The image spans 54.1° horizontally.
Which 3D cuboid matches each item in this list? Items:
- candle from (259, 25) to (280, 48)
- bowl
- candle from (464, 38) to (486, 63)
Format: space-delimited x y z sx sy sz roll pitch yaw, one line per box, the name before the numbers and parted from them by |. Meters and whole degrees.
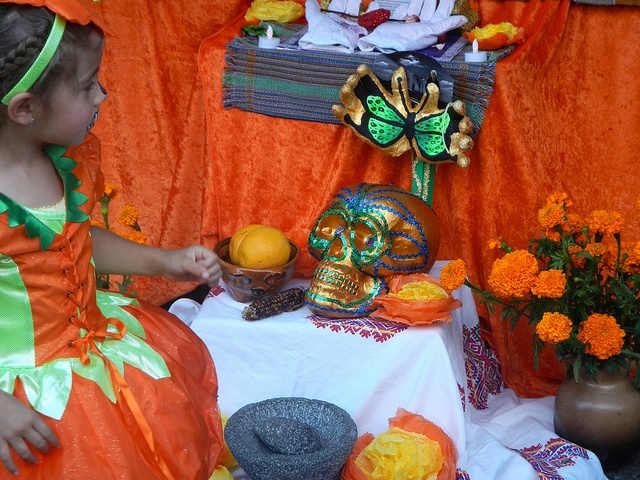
candle | -0.173 -0.731 2.286 0.077 0.095 0.081 3 12 3
bowl | -0.201 0.079 2.083 0.218 0.223 0.240 -3 22 -12
candle | 0.496 -0.615 2.053 0.071 0.078 0.075 -2 25 3
